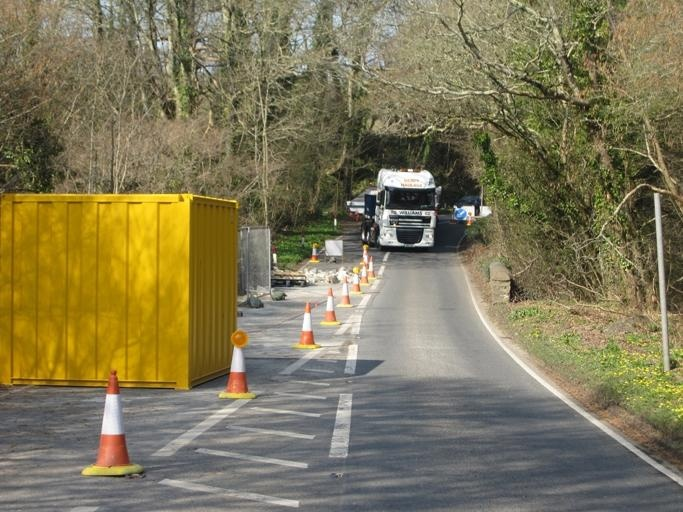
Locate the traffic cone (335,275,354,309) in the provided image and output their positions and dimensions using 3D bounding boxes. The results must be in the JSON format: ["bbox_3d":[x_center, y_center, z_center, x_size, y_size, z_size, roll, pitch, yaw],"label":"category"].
[{"bbox_3d":[-0.120,1.140,30.595,0.738,1.066,0.774,1,-4,2],"label":"traffic cone"}]

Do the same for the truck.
[{"bbox_3d":[3.101,-2.448,51.277,3.714,4.866,9.291,7,9,0],"label":"truck"}]

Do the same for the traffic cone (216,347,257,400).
[{"bbox_3d":[-1.997,2.283,18.312,0.559,1.117,0.514,0,1,-40],"label":"traffic cone"}]

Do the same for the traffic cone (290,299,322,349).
[{"bbox_3d":[-0.784,1.602,22.951,0.759,1.015,0.821,3,3,44],"label":"traffic cone"}]

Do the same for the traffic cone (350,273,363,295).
[{"bbox_3d":[0.512,0.988,34.254,0.548,0.690,0.586,0,-6,0],"label":"traffic cone"}]

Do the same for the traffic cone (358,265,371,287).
[{"bbox_3d":[0.864,0.741,36.947,0.525,0.651,0.576,1,-5,-5],"label":"traffic cone"}]
